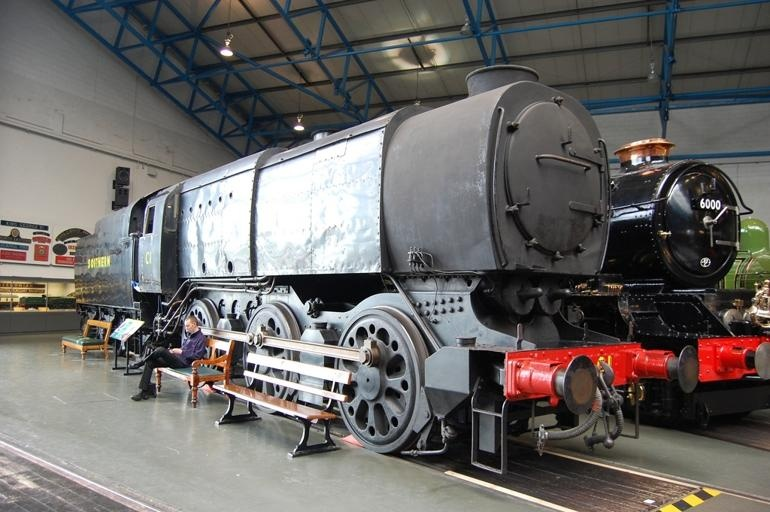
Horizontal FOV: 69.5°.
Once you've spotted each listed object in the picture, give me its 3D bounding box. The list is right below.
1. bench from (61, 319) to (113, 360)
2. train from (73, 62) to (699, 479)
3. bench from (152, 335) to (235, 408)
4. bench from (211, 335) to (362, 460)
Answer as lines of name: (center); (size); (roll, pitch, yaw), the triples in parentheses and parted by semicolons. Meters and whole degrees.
bench: (-7.907, 2.204, 14.801); (0.732, 0.928, 1.753); (2, -3, -45)
train: (-3.458, -0.332, 12.125); (18.076, 5.837, 5.103); (4, 5, 31)
bench: (-3.701, 2.169, 10.767); (0.784, 1.167, 1.904); (3, -4, -40)
bench: (-1.680, 2.140, 8.789); (2.790, 1.419, 0.957); (-1, -3, 44)
